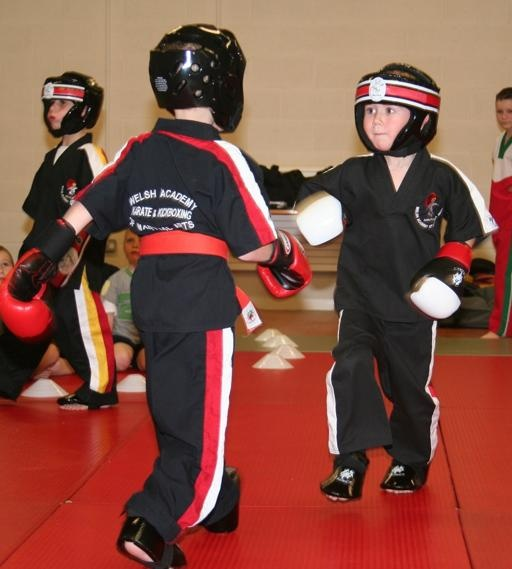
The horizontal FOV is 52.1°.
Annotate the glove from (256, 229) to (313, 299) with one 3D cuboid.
[{"bbox_3d":[0.064,-0.034,1.147,0.098,0.164,0.111,-37,77,-18],"label":"glove"}]

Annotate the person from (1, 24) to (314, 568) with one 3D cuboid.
[{"bbox_3d":[-0.183,0.016,1.102,0.640,1.168,0.346,-3,4,-26],"label":"person"}]

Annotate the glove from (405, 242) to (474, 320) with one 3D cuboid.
[{"bbox_3d":[0.489,-0.017,1.412,0.145,0.099,0.235,32,66,1],"label":"glove"}]

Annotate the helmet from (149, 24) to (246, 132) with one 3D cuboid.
[{"bbox_3d":[-0.119,-0.454,1.218,0.247,0.213,0.194,-5,11,-35],"label":"helmet"}]
